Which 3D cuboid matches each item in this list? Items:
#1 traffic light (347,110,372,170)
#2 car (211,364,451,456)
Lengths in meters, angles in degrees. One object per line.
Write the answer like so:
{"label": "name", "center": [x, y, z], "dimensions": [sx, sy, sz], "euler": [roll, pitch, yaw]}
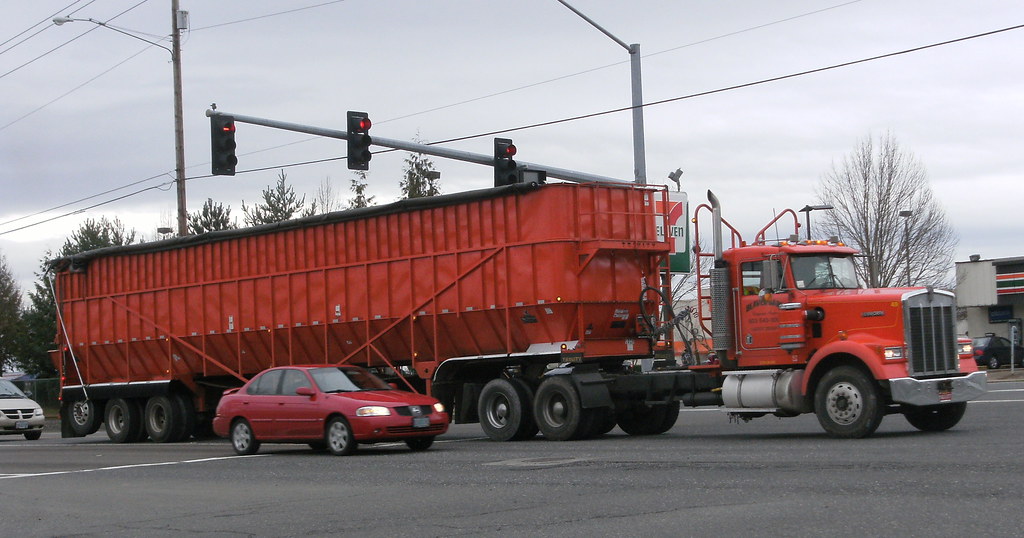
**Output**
{"label": "traffic light", "center": [-4.731, -3.932, 31.421], "dimensions": [0.767, 1.804, 0.754], "euler": [-4, 2, -9]}
{"label": "car", "center": [-5.205, 3.791, 27.749], "dimensions": [5.767, 1.678, 2.615], "euler": [-6, -8, 33]}
